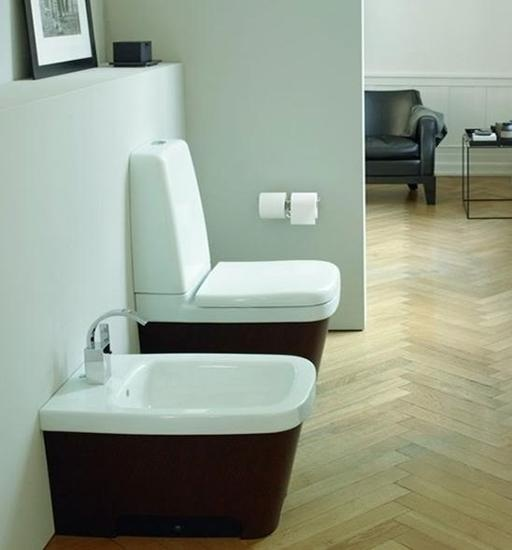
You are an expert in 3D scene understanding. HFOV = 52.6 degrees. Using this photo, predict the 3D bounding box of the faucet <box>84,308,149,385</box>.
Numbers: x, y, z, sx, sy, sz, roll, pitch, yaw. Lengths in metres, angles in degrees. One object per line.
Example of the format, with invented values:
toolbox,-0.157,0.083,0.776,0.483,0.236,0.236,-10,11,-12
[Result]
faucet,-0.327,0.148,1.202,0.152,0.228,0.132,-1,7,-2

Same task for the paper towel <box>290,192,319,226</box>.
paper towel,0.200,-0.273,2.118,0.112,0.167,0.112,1,5,6

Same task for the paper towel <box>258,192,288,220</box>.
paper towel,0.072,-0.291,2.212,0.118,0.128,0.094,1,8,7

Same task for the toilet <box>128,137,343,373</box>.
toilet,-0.043,-0.052,1.704,0.587,0.746,0.394,0,16,7
